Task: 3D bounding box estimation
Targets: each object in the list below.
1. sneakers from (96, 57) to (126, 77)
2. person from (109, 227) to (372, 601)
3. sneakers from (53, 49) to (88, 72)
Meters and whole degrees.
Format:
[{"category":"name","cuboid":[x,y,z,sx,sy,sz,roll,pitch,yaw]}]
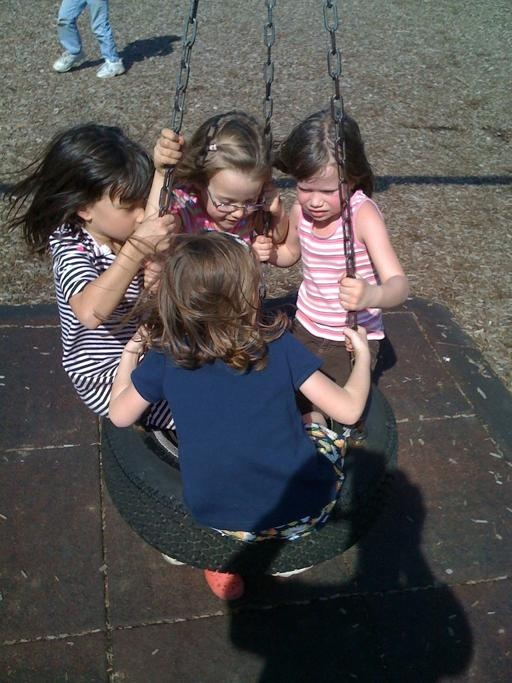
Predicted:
[{"category":"sneakers","cuboid":[-1.287,-2.403,5.848,0.289,0.119,0.164,-3,3,7]},{"category":"person","cuboid":[-0.092,0.206,2.135,0.832,0.950,0.622,14,46,9]},{"category":"sneakers","cuboid":[-1.650,-2.517,6.012,0.385,0.142,0.164,-20,19,-2]}]
